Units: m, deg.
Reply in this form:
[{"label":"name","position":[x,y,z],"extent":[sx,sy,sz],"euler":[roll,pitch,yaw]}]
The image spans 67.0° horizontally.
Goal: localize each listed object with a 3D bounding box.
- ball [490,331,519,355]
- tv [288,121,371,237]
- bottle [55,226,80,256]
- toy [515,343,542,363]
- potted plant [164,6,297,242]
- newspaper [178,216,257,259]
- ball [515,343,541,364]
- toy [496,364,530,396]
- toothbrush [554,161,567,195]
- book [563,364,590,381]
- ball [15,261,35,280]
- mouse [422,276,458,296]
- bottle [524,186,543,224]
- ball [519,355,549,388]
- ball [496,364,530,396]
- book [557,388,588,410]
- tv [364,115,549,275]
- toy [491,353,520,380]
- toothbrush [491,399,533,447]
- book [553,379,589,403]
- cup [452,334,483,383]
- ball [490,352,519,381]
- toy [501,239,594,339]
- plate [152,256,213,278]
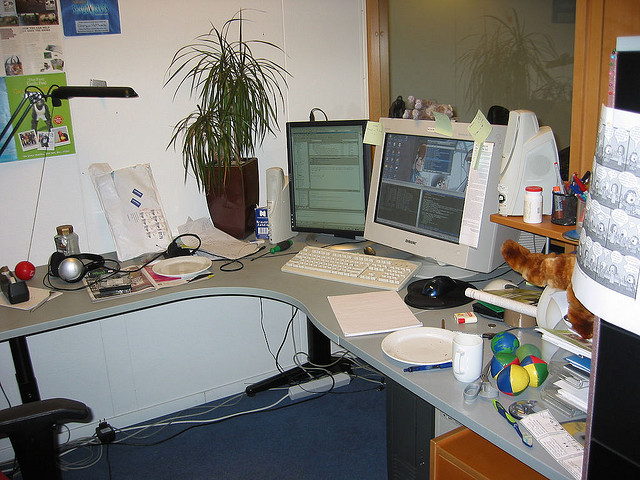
[{"label":"ball","position":[0.557,0.314,1.460],"extent":[0.060,0.075,0.064],"euler":[-7,8,1]},{"label":"tv","position":[0.059,-0.311,2.336],"extent":[0.487,0.647,0.084],"euler":[4,12,23]},{"label":"bottle","position":[-1.205,0.006,2.322],"extent":[0.112,0.140,0.107],"euler":[-1,16,0]},{"label":"toy","position":[0.611,0.327,1.419],"extent":[0.050,0.053,0.058],"euler":[-18,4,-31]},{"label":"potted plant","position":[-0.445,-0.604,2.498],"extent":[0.669,1.166,0.489],"euler":[-7,17,-18]},{"label":"newspaper","position":[-0.479,-0.045,2.502],"extent":[0.351,0.191,0.415],"euler":[18,24,39]},{"label":"ball","position":[0.610,0.334,1.416],"extent":[0.047,0.051,0.056],"euler":[4,-9,-10]},{"label":"toy","position":[0.521,0.380,1.304],"extent":[0.074,0.090,0.079],"euler":[-1,1,10]},{"label":"toothbrush","position":[0.915,-0.226,1.839],"extent":[0.026,0.151,0.035],"euler":[-10,-4,8]},{"label":"book","position":[0.691,0.356,1.296],"extent":[0.054,0.014,0.055],"euler":[20,8,14]},{"label":"ball","position":[-1.344,0.142,2.202],"extent":[0.077,0.084,0.078],"euler":[-1,16,0]},{"label":"mouse","position":[0.463,0.169,1.854],"extent":[0.079,0.056,0.168],"euler":[15,23,43]},{"label":"bottle","position":[0.799,-0.128,1.799],"extent":[0.070,0.128,0.068],"euler":[-1,16,0]},{"label":"ball","position":[0.589,0.359,1.369],"extent":[0.102,0.094,0.067],"euler":[2,-30,7]},{"label":"ball","position":[0.525,0.379,1.303],"extent":[0.073,0.090,0.079],"euler":[-1,2,0]},{"label":"book","position":[0.655,0.413,1.255],"extent":[0.056,0.014,0.057],"euler":[22,2,-44]},{"label":"tv","position":[0.619,-0.306,2.139],"extent":[0.601,0.560,0.688],"euler":[17,23,40]},{"label":"toy","position":[0.517,0.359,1.376],"extent":[0.064,0.048,0.072],"euler":[-23,2,-44]},{"label":"toothbrush","position":[0.487,0.461,1.223],"extent":[0.023,0.009,0.160],"euler":[-10,26,-6]},{"label":"book","position":[0.672,0.389,1.283],"extent":[0.043,0.037,0.096],"euler":[-12,20,-32]},{"label":"cup","position":[0.410,0.331,1.397],"extent":[0.074,0.115,0.123],"euler":[5,20,26]},{"label":"ball","position":[0.517,0.349,1.374],"extent":[0.071,0.045,0.064],"euler":[-34,0,-1]},{"label":"toy","position":[0.691,0.126,1.442],"extent":[0.089,0.184,0.284],"euler":[10,25,-26]},{"label":"plate","position":[-0.627,0.122,2.191],"extent":[0.256,0.036,0.219],"euler":[13,22,38]}]
